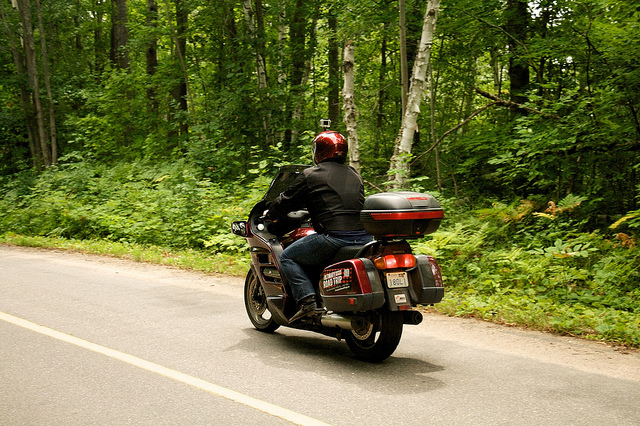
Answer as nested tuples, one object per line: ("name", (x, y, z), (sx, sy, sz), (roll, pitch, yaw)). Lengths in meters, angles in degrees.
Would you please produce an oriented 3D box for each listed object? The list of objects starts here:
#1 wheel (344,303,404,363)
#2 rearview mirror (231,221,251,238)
("wheel", (0.838, 1.833, 9.589), (0.884, 0.900, 0.268), (4, 14, 29))
("rearview mirror", (-1.383, 0.285, 10.799), (0.391, 0.249, 0.091), (13, 14, 17))
